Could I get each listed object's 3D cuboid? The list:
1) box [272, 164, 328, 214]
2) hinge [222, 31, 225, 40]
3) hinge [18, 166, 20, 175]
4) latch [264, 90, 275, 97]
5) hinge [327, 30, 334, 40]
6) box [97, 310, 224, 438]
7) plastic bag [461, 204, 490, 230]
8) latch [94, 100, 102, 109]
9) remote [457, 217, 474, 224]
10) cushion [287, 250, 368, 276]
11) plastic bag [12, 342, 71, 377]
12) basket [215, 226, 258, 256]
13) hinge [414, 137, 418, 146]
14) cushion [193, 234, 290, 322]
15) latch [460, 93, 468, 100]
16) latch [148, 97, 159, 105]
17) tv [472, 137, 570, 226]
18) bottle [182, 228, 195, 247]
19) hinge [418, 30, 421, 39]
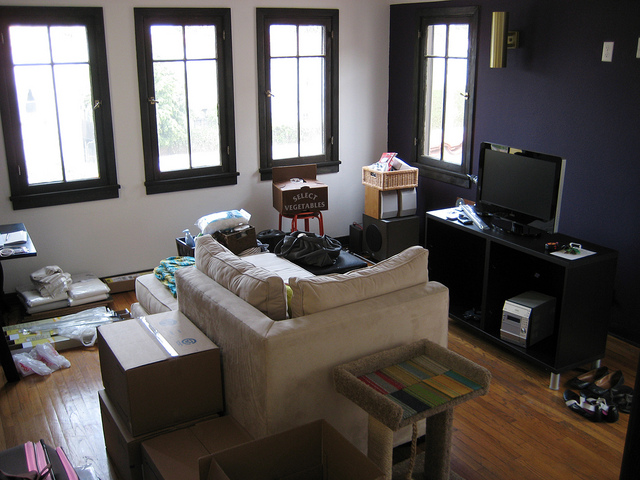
[{"bbox_3d":[-0.211,-0.537,5.222,0.537,0.456,0.408,-5,21,-14],"label":"box"},{"bbox_3d":[-0.955,-2.036,4.889,0.026,0.077,0.012,3,19,18],"label":"hinge"},{"bbox_3d":[-2.687,-0.621,4.398,0.004,0.062,0.022,9,21,33],"label":"hinge"},{"bbox_3d":[-0.541,-1.535,5.180,0.045,0.068,0.065,0,1,14],"label":"latch"},{"bbox_3d":[0.112,-2.237,5.347,0.061,0.089,0.026,0,5,6],"label":"hinge"},{"bbox_3d":[-0.893,0.708,2.708,0.503,0.424,0.676,-10,16,-36],"label":"box"},{"bbox_3d":[1.242,-0.183,3.962,0.069,0.021,0.267,2,27,-16],"label":"plastic bag"},{"bbox_3d":[-2.057,-1.252,4.566,0.055,0.078,0.018,12,5,-17],"label":"latch"},{"bbox_3d":[1.166,-0.158,3.963,0.061,0.023,0.062,-9,22,-24],"label":"remote"},{"bbox_3d":[0.134,0.199,4.114,0.308,0.076,0.285,-7,17,-23],"label":"cushion"},{"bbox_3d":[-2.057,0.891,3.644,0.323,0.128,0.295,-17,22,-36],"label":"plastic bag"},{"bbox_3d":[-0.727,0.007,4.457,0.276,0.178,0.271,-14,22,-34],"label":"basket"},{"bbox_3d":[1.061,-1.092,5.455,0.021,0.091,0.062,0,-2,-26],"label":"hinge"},{"bbox_3d":[-0.482,0.198,2.812,0.182,0.236,0.909,-14,23,-36],"label":"cushion"},{"bbox_3d":[1.419,-1.412,4.820,0.041,0.026,0.036,15,-3,-8],"label":"latch"},{"bbox_3d":[-1.608,-1.341,4.743,0.088,0.066,0.030,-10,19,-20],"label":"latch"},{"bbox_3d":[1.537,-0.412,3.819,0.209,0.618,0.843,-11,21,-21],"label":"tv"},{"bbox_3d":[-1.261,-0.017,4.716,0.097,0.206,0.088,-17,-23,-7],"label":"bottle"},{"bbox_3d":[1.045,-2.171,5.181,0.028,0.068,0.011,5,19,23],"label":"hinge"}]
